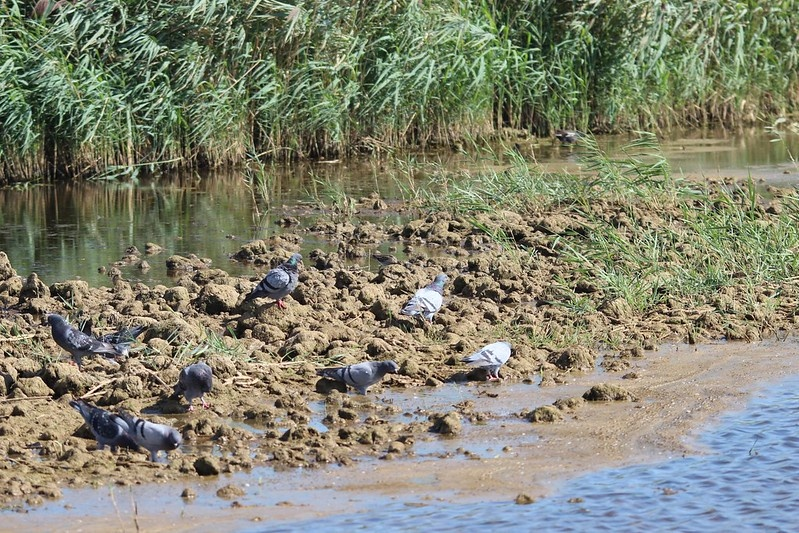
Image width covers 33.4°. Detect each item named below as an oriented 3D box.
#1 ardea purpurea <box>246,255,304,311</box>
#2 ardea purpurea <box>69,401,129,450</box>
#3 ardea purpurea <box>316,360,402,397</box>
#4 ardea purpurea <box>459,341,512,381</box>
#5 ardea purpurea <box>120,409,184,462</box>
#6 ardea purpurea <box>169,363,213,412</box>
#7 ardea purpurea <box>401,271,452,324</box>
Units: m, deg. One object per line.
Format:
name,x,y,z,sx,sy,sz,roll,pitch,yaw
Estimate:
ardea purpurea,-1.508,0.137,16.342,0.707,0.648,0.391,5,11,3
ardea purpurea,-3.133,1.666,14.080,0.663,0.541,0.137,-5,1,19
ardea purpurea,-0.470,1.267,15.036,0.918,0.371,0.410,-6,1,2
ardea purpurea,1.020,1.093,15.288,0.642,0.409,0.428,-6,1,-14
ardea purpurea,-2.630,1.770,13.971,0.673,0.534,0.174,-5,1,20
ardea purpurea,-2.257,1.273,14.586,0.273,0.455,0.654,-4,26,-27
ardea purpurea,0.324,0.397,16.307,0.319,0.597,0.817,11,13,40
